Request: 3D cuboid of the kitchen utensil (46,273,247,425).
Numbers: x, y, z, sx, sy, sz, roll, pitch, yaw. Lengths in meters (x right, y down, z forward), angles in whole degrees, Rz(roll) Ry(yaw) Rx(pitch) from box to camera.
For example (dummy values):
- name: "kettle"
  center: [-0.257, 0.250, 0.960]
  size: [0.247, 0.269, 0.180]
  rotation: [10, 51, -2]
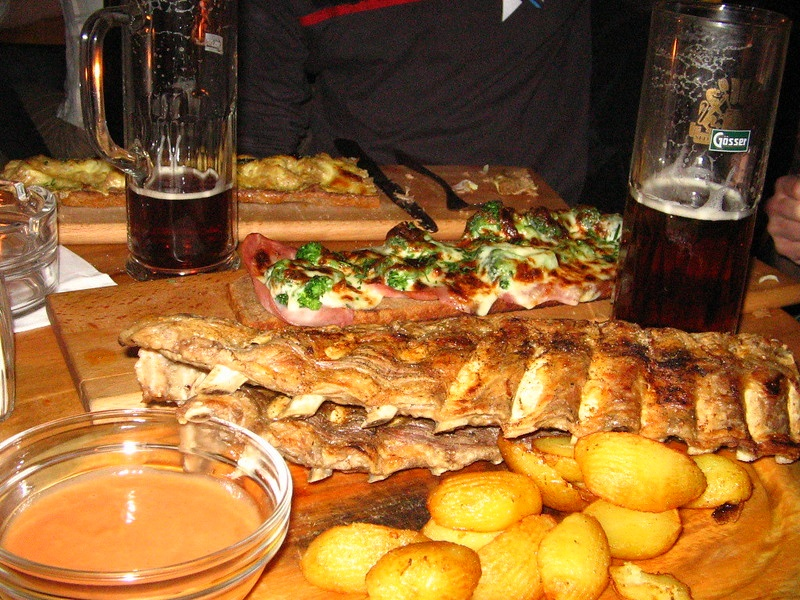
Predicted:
- name: "kitchen utensil"
  center: [-0.767, 0.126, 1.864]
  size: [0.406, 0.060, 0.434]
  rotation: [0, 29, -10]

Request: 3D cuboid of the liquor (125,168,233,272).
- name: "liquor"
  center: [-0.733, -0.298, 2.217]
  size: [0.356, 0.303, 0.341]
  rotation: [-2, 26, -12]

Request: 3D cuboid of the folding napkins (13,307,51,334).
- name: "folding napkins"
  center: [-1.097, 0.057, 1.881]
  size: [0.070, 0.010, 0.075]
  rotation: [-11, 45, -32]

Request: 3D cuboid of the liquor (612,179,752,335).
- name: "liquor"
  center: [0.756, -0.123, 1.809]
  size: [0.384, 0.395, 0.364]
  rotation: [13, 28, 26]

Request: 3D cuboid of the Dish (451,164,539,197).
- name: "Dish"
  center: [0.496, -0.596, 3.240]
  size: [0.348, 0.077, 0.232]
  rotation: [2, 27, -10]

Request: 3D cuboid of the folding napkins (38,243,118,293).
- name: "folding napkins"
  center: [-1.072, -0.158, 2.090]
  size: [0.153, 0.039, 0.376]
  rotation: [-13, 32, -35]
